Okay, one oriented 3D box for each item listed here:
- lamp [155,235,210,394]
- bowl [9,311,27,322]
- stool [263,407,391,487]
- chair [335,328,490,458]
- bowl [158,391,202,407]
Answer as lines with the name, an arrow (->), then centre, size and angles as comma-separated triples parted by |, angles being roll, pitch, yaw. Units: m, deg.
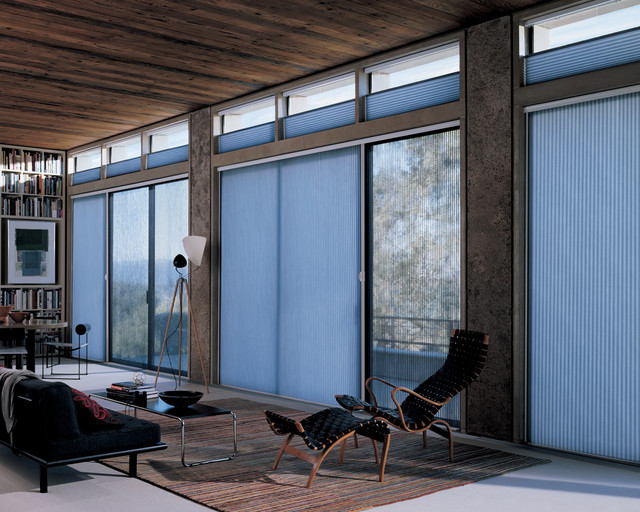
lamp -> -1.864, 0.715, 9.157 | 0.573, 2.021, 1.446 | 0, 0, -23
bowl -> -3.633, 0.739, 8.107 | 0.169, 0.132, 0.226 | 0, 0, -28
stool -> 0.094, 1.374, 5.176 | 0.740, 0.401, 0.656 | 0, 0, -29
chair -> 0.718, 1.135, 5.588 | 1.218, 0.935, 0.695 | 1, -2, -16
bowl -> -1.194, 1.213, 5.729 | 0.227, 0.059, 0.207 | 0, -2, 0
